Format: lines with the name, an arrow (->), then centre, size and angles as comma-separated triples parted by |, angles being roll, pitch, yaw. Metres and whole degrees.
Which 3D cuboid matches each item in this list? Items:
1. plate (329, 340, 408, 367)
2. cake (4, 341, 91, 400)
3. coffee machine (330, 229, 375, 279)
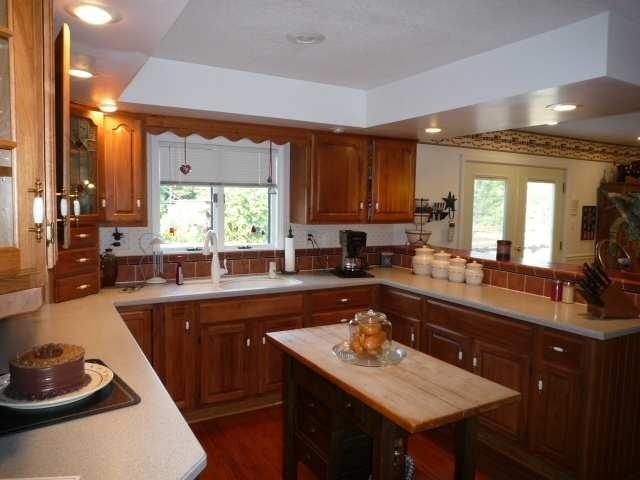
plate -> 0.269, 0.605, 2.504 | 0.405, 0.069, 0.253 | 3, 9, 4
cake -> -1.082, 0.528, 1.882 | 0.236, 0.136, 0.233 | 5, 4, 29
coffee machine -> 0.263, 0.141, 4.675 | 0.351, 0.445, 0.484 | 0, 1, -17
